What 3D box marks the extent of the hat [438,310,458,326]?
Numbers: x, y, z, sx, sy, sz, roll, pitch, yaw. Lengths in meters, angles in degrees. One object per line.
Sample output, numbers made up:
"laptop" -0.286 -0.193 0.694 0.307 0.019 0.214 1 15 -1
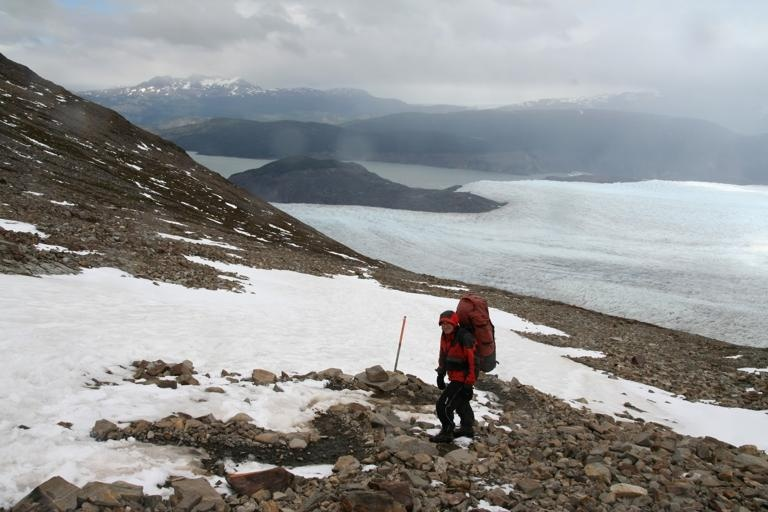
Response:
"hat" 1.964 1.885 15.146 0.495 0.347 0.600 2 1 28
